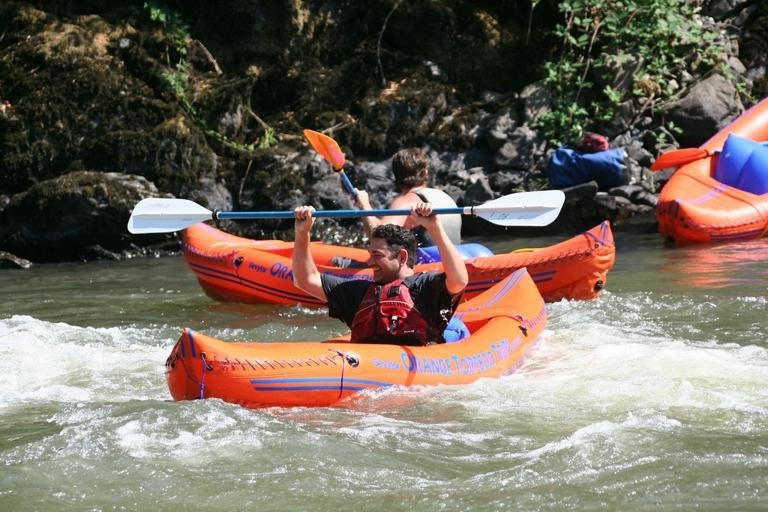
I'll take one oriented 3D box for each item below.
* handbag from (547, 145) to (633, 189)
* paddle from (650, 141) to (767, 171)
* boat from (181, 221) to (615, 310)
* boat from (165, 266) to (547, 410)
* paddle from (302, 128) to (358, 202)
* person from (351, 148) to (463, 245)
[{"bbox_3d":[3.300,-1.384,17.783,0.982,0.399,0.707,0,-2,-9],"label":"handbag"},{"bbox_3d":[5.018,-1.503,17.077,1.660,0.346,0.165,-17,30,-14],"label":"paddle"},{"bbox_3d":[0.193,0.241,14.346,5.906,1.531,1.844,1,5,4],"label":"boat"},{"bbox_3d":[-0.140,0.868,11.725,3.229,0.959,1.506,-7,5,-24],"label":"boat"},{"bbox_3d":[-0.584,-1.115,14.423,0.274,1.212,0.115,-32,47,-1],"label":"paddle"},{"bbox_3d":[0.398,-0.778,13.123,0.986,0.582,1.306,-1,-2,4],"label":"person"}]
